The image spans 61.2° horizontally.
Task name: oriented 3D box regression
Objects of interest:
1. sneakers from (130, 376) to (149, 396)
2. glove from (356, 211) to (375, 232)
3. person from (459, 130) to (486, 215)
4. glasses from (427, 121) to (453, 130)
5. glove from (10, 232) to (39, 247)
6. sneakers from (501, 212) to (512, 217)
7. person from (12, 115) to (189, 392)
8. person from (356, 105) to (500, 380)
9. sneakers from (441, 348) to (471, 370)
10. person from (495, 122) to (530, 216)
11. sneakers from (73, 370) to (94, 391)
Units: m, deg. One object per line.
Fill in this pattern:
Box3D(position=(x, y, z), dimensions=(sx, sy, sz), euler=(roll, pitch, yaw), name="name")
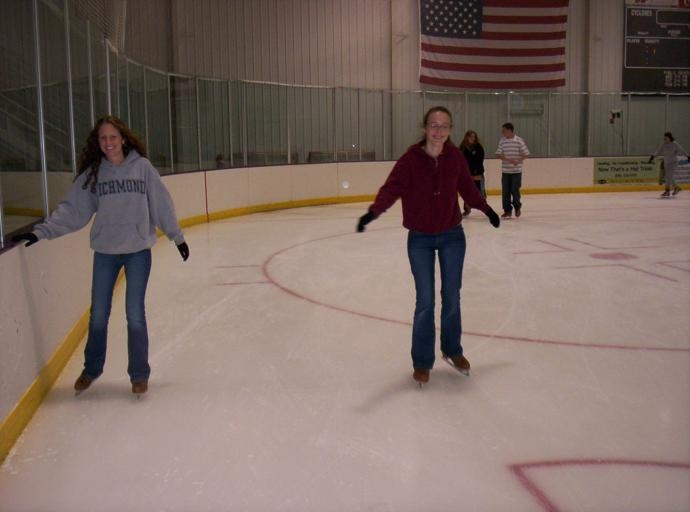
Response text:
Box3D(position=(-1.319, 0.835, 3.735), dimensions=(0.072, 0.059, 0.134), euler=(2, 7, -15), name="sneakers")
Box3D(position=(0.119, -0.219, 3.610), dimensions=(0.078, 0.143, 0.069), euler=(34, 8, 36), name="glove")
Box3D(position=(2.475, -1.605, 11.175), dimensions=(0.429, 1.533, 0.470), euler=(-7, 31, 6), name="person")
Box3D(position=(0.621, -0.837, 3.747), dimensions=(0.180, 0.049, 0.061), euler=(-6, 14, -20), name="glasses")
Box3D(position=(-1.953, -0.106, 3.535), dimensions=(0.107, 0.050, 0.109), euler=(15, 20, 40), name="glove")
Box3D(position=(3.231, -0.824, 11.633), dimensions=(0.177, 0.146, 0.084), euler=(1, 7, 3), name="sneakers")
Box3D(position=(-1.482, 0.008, 3.789), dimensions=(0.891, 1.776, 0.474), euler=(-1, 11, -2), name="person")
Box3D(position=(0.574, -0.064, 3.894), dimensions=(0.979, 1.804, 0.435), euler=(-8, 14, -33), name="person")
Box3D(position=(0.771, 0.725, 4.072), dimensions=(0.086, 0.107, 0.226), euler=(-11, 17, -29), name="sneakers")
Box3D(position=(3.346, -1.685, 11.672), dimensions=(0.544, 1.891, 1.027), euler=(3, 12, 17), name="person")
Box3D(position=(-1.726, 0.837, 3.834), dimensions=(0.066, 0.040, 0.165), euler=(2, 36, -4), name="sneakers")
